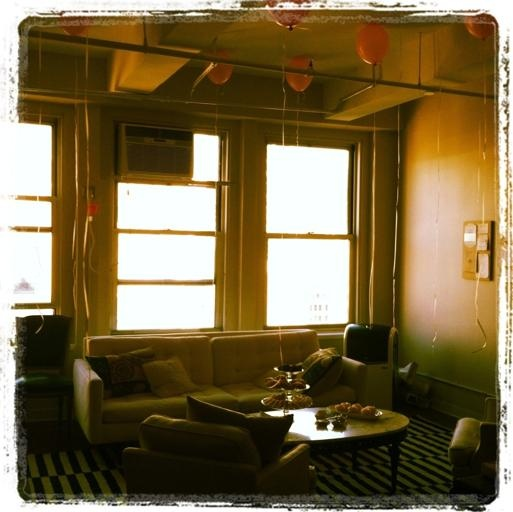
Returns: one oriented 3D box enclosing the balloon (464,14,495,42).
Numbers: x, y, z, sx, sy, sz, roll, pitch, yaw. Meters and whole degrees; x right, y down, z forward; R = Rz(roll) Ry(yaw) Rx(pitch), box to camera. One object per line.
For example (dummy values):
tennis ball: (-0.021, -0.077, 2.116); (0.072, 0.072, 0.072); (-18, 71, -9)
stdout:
balloon: (1.389, -1.418, 3.215); (0.180, 0.109, 0.119); (0, 4, 8)

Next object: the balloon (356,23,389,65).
balloon: (0.778, -1.452, 3.480); (0.175, 0.304, 0.186); (-2, 4, -22)

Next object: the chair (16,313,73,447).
chair: (-1.866, 1.084, 4.602); (0.490, 1.021, 0.780); (-2, 4, -24)

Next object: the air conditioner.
air conditioner: (-1.033, -1.046, 5.234); (0.810, 0.591, 0.463); (2, -6, -26)

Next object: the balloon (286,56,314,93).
balloon: (0.348, -1.428, 4.322); (0.183, 0.254, 0.147); (-5, -38, -3)

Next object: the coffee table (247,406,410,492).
coffee table: (0.728, 1.427, 3.732); (0.719, 0.392, 1.054); (-11, -13, 8)

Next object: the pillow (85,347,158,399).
pillow: (-1.094, 0.977, 4.259); (0.547, 0.320, 0.227); (-3, 4, -26)
